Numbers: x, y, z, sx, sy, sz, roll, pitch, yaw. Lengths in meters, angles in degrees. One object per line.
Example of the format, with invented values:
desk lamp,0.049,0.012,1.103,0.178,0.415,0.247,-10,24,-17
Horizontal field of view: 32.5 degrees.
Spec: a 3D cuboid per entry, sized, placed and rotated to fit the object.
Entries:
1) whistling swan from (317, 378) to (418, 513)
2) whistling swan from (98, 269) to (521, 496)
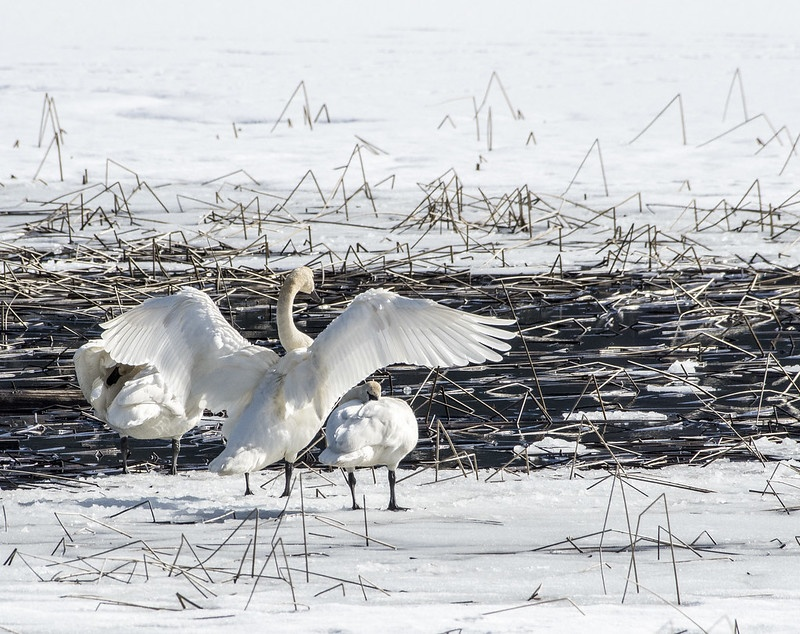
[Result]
whistling swan,-0.226,0.939,10.239,0.698,0.875,0.896,2,5,0
whistling swan,-0.457,0.325,10.451,3.839,1.407,1.888,4,4,28
